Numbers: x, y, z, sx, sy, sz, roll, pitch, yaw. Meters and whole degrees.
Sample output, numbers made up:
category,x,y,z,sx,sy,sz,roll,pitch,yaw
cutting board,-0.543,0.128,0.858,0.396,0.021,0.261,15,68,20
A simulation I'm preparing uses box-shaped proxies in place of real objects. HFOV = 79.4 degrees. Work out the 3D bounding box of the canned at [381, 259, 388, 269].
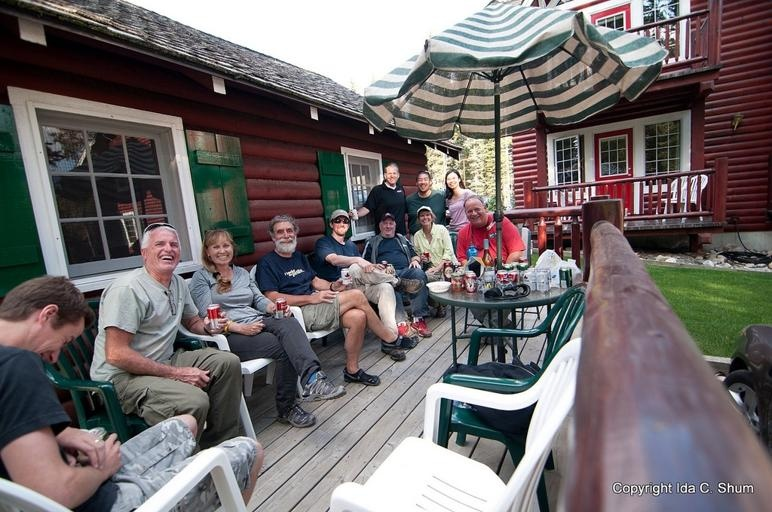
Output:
category,x,y,z,sx,sy,sz,roll,pitch,yaw
canned,-0.014,0.118,5.812,0.073,0.105,0.076,6,9,43

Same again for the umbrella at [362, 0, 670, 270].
category,x,y,z,sx,sy,sz,roll,pitch,yaw
umbrella,1.285,-1.143,4.738,2.442,2.473,2.279,-9,7,-34

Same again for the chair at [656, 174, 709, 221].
category,x,y,z,sx,sy,sz,roll,pitch,yaw
chair,6.064,-1.182,9.408,0.842,1.095,0.797,-6,10,-26

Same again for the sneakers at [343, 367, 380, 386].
category,x,y,z,sx,sy,sz,roll,pitch,yaw
sneakers,-0.237,1.252,4.850,0.310,0.113,0.153,0,5,14

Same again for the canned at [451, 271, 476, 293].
category,x,y,z,sx,sy,sz,roll,pitch,yaw
canned,0.740,0.248,4.456,0.234,0.174,0.148,4,6,36

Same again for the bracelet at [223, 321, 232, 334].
category,x,y,z,sx,sy,sz,roll,pitch,yaw
bracelet,-1.487,0.684,4.405,0.089,0.114,0.099,6,-9,-31

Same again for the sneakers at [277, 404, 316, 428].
category,x,y,z,sx,sy,sz,roll,pitch,yaw
sneakers,-0.817,1.465,4.311,0.321,0.148,0.154,3,5,23

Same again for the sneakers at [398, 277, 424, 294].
category,x,y,z,sx,sy,sz,roll,pitch,yaw
sneakers,0.352,0.393,5.779,0.383,0.138,0.276,-9,-39,9

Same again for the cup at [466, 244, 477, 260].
category,x,y,z,sx,sy,sz,roll,pitch,yaw
cup,0.915,-0.031,4.942,0.130,0.222,0.132,0,-6,0

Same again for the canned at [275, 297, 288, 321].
category,x,y,z,sx,sy,sz,roll,pitch,yaw
canned,-1.015,0.524,4.593,0.179,0.178,0.112,0,2,8

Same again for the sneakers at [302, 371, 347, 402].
category,x,y,z,sx,sy,sz,roll,pitch,yaw
sneakers,-0.622,1.279,4.617,0.566,0.298,0.198,-1,4,-10

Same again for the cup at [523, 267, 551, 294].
category,x,y,z,sx,sy,sz,roll,pitch,yaw
cup,1.402,0.216,4.365,0.214,0.220,0.224,-2,8,0

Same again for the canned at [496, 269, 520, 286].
category,x,y,z,sx,sy,sz,roll,pitch,yaw
canned,1.127,0.201,4.303,0.154,0.174,0.155,5,10,37
